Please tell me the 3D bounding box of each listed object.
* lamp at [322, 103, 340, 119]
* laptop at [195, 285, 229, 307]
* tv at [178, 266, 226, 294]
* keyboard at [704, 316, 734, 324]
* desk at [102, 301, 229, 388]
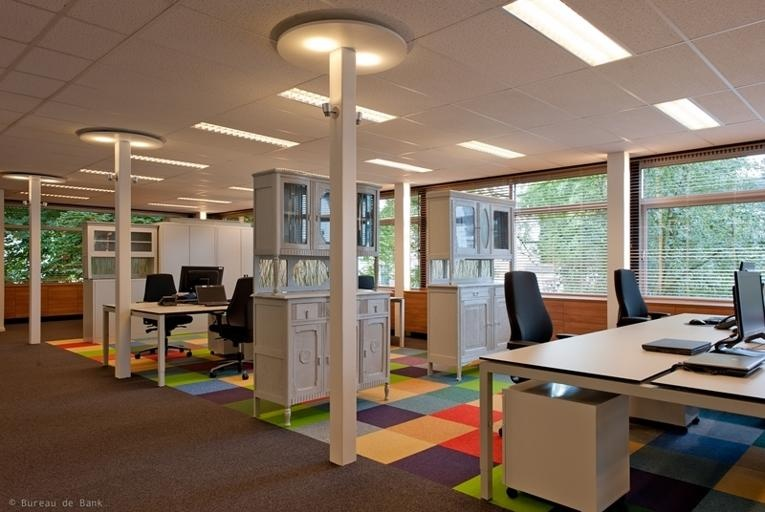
[{"bbox_3d":[-0.531,-1.390,4.941,0.117,0.161,0.218,-4,7,-36],"label":"lamp"},{"bbox_3d":[-2.684,0.619,8.139,0.405,0.320,0.248,0,-13,-38],"label":"laptop"},{"bbox_3d":[-3.053,0.362,8.739,0.972,0.558,0.442,0,0,-26],"label":"tv"},{"bbox_3d":[3.572,0.684,5.491,0.170,0.032,0.153,-2,1,-5],"label":"keyboard"},{"bbox_3d":[-3.295,1.450,7.537,1.261,0.781,1.885,-2,-2,42],"label":"desk"}]
